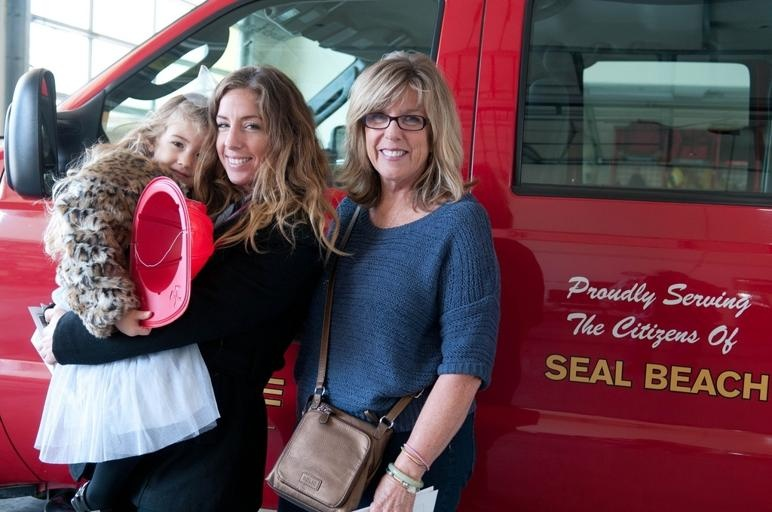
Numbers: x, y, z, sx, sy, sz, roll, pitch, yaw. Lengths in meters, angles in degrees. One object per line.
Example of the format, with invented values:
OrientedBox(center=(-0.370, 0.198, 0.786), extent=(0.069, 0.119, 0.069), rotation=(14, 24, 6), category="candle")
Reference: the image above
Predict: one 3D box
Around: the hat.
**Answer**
OrientedBox(center=(-0.705, -0.005, 2.140), extent=(0.266, 0.404, 0.194), rotation=(5, 1, 27), category="hat")

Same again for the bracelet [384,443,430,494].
OrientedBox(center=(0.072, 0.726, 2.103), extent=(0.149, 0.057, 0.146), rotation=(37, -2, 11), category="bracelet")
